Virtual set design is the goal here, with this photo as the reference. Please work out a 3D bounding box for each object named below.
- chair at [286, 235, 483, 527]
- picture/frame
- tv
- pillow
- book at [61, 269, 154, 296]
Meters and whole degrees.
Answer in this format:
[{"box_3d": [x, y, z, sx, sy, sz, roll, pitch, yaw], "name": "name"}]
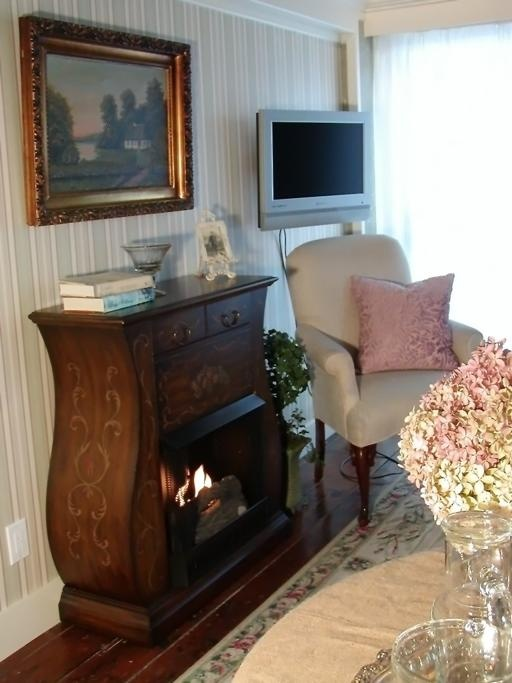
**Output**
[{"box_3d": [0.644, 0.143, 2.781, 0.969, 1.180, 0.994, 1, 19, 12], "name": "chair"}, {"box_3d": [-0.526, -0.763, 1.921, 0.066, 0.696, 0.868, 6, 12, 29], "name": "picture/frame"}, {"box_3d": [0.303, -0.942, 3.062, 0.074, 0.542, 0.769, 8, 18, 38], "name": "tv"}, {"box_3d": [0.699, -0.069, 2.684, 0.479, 0.471, 0.170, -2, -7, 5], "name": "pillow"}, {"box_3d": [-0.447, -0.179, 1.732, 0.148, 0.035, 0.152, 4, 15, 34], "name": "book"}]
